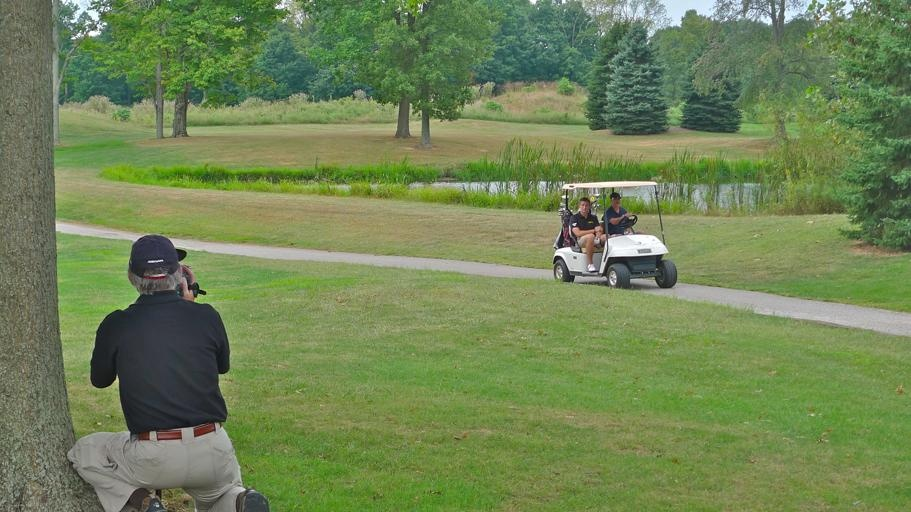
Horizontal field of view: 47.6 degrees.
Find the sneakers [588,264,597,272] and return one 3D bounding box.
[{"bbox_3d":[4.047,0.361,30.687,0.302,0.245,0.093,0,6,-23],"label":"sneakers"}]

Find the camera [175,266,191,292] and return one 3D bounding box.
[{"bbox_3d":[-5.108,0.414,19.456,0.253,0.411,0.322,9,1,-25],"label":"camera"}]

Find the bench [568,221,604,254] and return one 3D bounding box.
[{"bbox_3d":[3.929,-0.507,30.858,1.080,0.839,0.650,3,5,18],"label":"bench"}]

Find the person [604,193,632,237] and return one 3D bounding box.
[{"bbox_3d":[4.834,-1.272,31.083,0.674,1.293,1.035,5,6,30],"label":"person"}]
